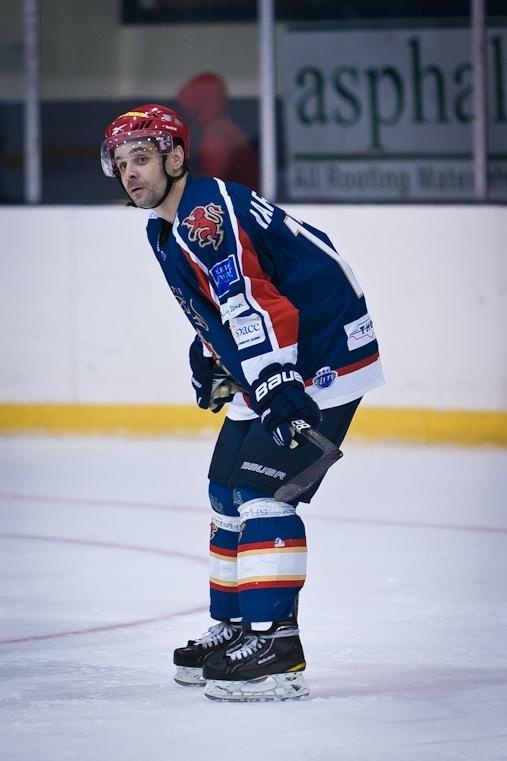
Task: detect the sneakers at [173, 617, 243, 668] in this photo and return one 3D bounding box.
[{"bbox_3d":[-0.086,0.530,2.172,0.185,0.073,0.058,-6,11,-41],"label":"sneakers"}]

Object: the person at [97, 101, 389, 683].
[{"bbox_3d":[-0.029,0.024,2.109,0.504,1.140,0.406,5,4,29],"label":"person"}]

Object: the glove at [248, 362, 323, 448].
[{"bbox_3d":[0.055,0.044,1.872,0.150,0.115,0.071,51,16,21],"label":"glove"}]

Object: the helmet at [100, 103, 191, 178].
[{"bbox_3d":[-0.201,-0.480,2.114,0.122,0.123,0.149,6,18,35],"label":"helmet"}]

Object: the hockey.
[{"bbox_3d":[0.067,0.146,1.948,0.132,0.166,0.062,44,-10,30],"label":"hockey"}]

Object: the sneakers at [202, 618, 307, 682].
[{"bbox_3d":[0.015,0.515,1.996,0.265,0.149,0.082,1,-10,1],"label":"sneakers"}]
